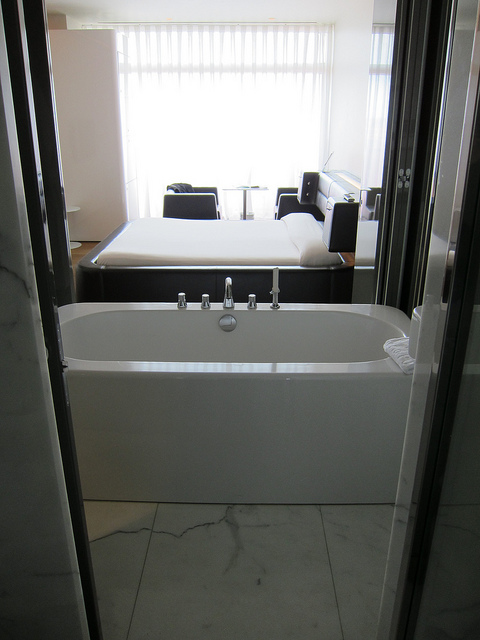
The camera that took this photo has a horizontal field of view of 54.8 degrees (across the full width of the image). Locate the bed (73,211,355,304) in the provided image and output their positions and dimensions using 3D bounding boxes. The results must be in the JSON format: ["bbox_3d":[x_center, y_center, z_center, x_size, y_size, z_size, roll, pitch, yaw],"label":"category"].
[{"bbox_3d":[-0.186,-0.461,3.357,1.841,0.502,1.055,-1,15,-3],"label":"bed"}]

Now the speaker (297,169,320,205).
[{"bbox_3d":[0.714,-1.367,4.838,0.210,0.324,0.234,1,13,5],"label":"speaker"}]

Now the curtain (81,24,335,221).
[{"bbox_3d":[-0.422,-2.648,5.939,2.440,3.483,0.185,-1,21,-4],"label":"curtain"}]

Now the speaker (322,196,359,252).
[{"bbox_3d":[0.647,-0.628,3.051,0.134,0.339,0.300,1,18,-4],"label":"speaker"}]
